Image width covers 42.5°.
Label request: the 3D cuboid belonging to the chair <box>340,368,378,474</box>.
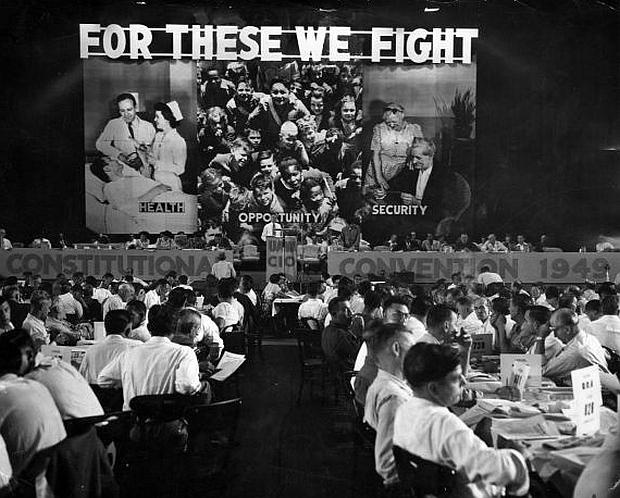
[{"bbox_3d":[0.404,1.434,6.553,0.369,0.702,1.065,-1,3,0],"label":"chair"}]

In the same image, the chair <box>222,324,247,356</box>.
[{"bbox_3d":[-0.925,1.093,9.372,0.347,0.361,0.320,4,6,36],"label":"chair"}]

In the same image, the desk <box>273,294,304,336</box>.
[{"bbox_3d":[-0.408,1.138,13.413,0.617,0.356,0.724,0,6,-3],"label":"desk"}]
